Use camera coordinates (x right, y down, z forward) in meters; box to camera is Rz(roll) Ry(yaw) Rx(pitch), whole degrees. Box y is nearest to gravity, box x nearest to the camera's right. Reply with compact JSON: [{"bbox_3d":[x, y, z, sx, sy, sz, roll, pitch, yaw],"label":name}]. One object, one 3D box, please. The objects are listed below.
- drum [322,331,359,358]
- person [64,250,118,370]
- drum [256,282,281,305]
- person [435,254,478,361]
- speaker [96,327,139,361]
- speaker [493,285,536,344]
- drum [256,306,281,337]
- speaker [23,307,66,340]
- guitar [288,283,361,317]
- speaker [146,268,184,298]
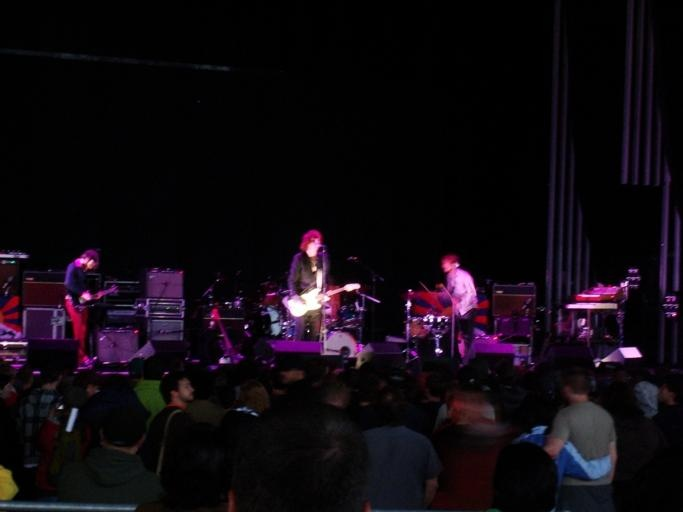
[{"bbox_3d":[-0.044,1.361,10.245,0.501,0.447,0.265,-7,-1,3],"label":"drum"},{"bbox_3d":[-4.279,0.847,11.273,0.766,1.953,1.539,4,-8,-22],"label":"person"},{"bbox_3d":[-1.314,0.683,12.338,0.374,0.485,0.929,2,-7,-8],"label":"drum"},{"bbox_3d":[1.831,0.821,10.729,0.597,1.737,0.663,0,-8,8],"label":"person"},{"bbox_3d":[-3.720,1.462,11.042,0.771,0.644,0.257,0,3,-20],"label":"speaker"},{"bbox_3d":[3.185,1.072,12.474,0.747,1.087,0.437,0,-8,13],"label":"speaker"},{"bbox_3d":[-1.288,1.173,12.128,0.498,0.558,0.536,-2,2,4],"label":"drum"},{"bbox_3d":[-5.080,1.141,11.408,0.609,0.527,0.418,1,1,-6],"label":"speaker"},{"bbox_3d":[-0.390,0.698,10.554,0.770,0.574,1.198,-2,-8,21],"label":"guitar"},{"bbox_3d":[-3.107,0.474,11.799,0.572,0.376,0.541,1,0,-28],"label":"speaker"}]
